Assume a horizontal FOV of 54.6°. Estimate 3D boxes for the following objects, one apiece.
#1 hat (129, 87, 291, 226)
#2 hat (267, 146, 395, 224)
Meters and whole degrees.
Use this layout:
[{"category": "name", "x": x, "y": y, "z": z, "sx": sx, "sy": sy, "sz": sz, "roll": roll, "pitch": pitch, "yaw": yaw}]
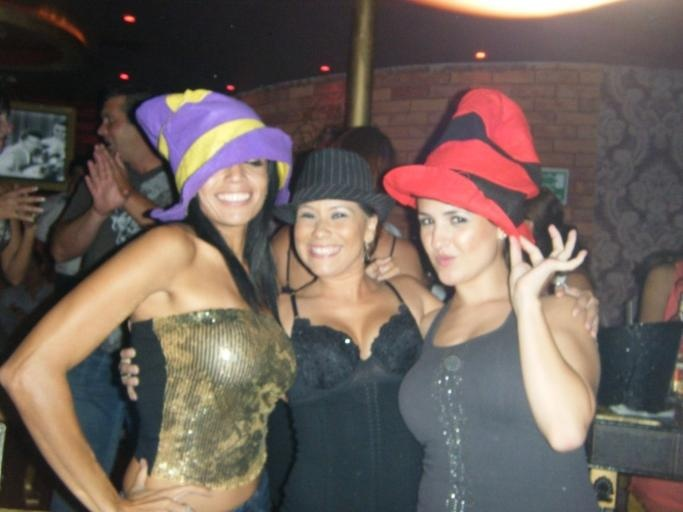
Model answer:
[{"category": "hat", "x": -0.701, "y": -0.612, "z": 3.906, "sx": 0.846, "sy": 0.683, "sz": 0.638, "roll": -8, "pitch": 10, "yaw": 2}, {"category": "hat", "x": -0.031, "y": -0.438, "z": 4.148, "sx": 0.522, "sy": 0.277, "sz": 0.503, "roll": 9, "pitch": -15, "yaw": -36}]
